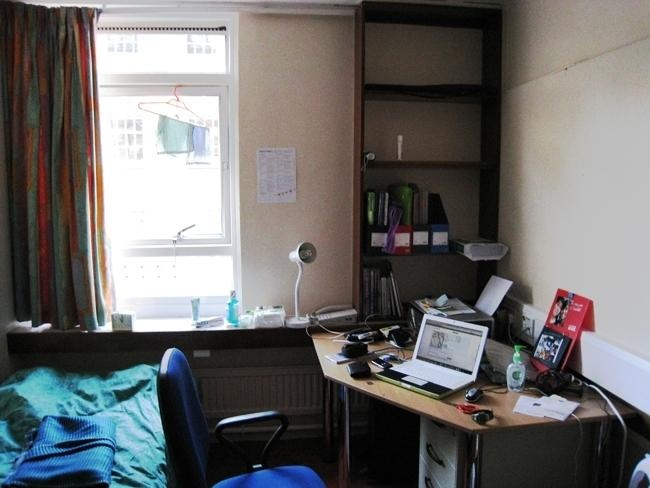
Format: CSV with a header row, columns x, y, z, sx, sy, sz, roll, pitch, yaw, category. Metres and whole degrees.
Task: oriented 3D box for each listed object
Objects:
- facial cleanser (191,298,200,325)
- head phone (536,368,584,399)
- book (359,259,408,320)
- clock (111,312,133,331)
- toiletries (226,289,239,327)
x,y,z,sx,sy,sz,roll,pitch,yaw,category
-0.912,0.468,4.001,0.057,0.180,0.122,-4,8,-13,facial cleanser
1.310,0.780,3.161,0.188,0.090,0.142,1,33,0,head phone
0.398,0.335,4.017,0.298,0.411,0.132,-3,7,-1,book
-1.387,0.534,3.898,0.118,0.121,0.120,2,0,-4,clock
-0.656,0.454,4.016,0.088,0.239,0.139,-4,8,-13,toiletries
